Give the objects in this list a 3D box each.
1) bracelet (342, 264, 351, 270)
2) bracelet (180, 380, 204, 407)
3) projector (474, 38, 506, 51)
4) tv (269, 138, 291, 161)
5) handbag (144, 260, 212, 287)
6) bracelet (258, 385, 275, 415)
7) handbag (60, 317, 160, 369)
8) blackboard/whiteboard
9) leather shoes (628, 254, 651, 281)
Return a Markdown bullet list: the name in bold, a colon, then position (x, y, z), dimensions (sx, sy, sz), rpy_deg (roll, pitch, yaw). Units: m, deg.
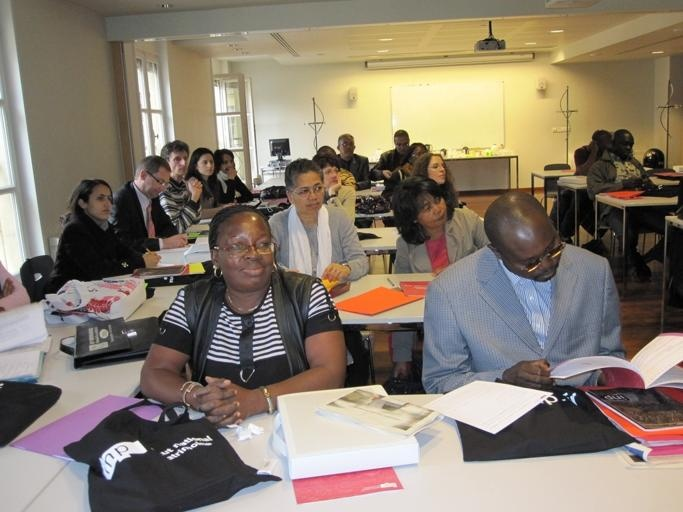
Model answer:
- **bracelet**: position (0.041, 0.064, 3.101), dimensions (0.037, 0.026, 0.036), rpy_deg (1, 2, -8)
- **bracelet**: position (-0.516, 0.459, 1.715), dimensions (0.057, 0.064, 0.028), rpy_deg (12, -19, -13)
- **projector**: position (2.338, -3.216, 7.777), dimensions (0.478, 0.194, 0.461), rpy_deg (-6, 19, -13)
- **tv**: position (-1.379, -2.605, 12.227), dimensions (0.680, 0.593, 0.159), rpy_deg (-2, -3, 11)
- **handbag**: position (-0.973, 0.122, 3.229), dimensions (0.276, 0.060, 0.245), rpy_deg (-4, 16, 2)
- **bracelet**: position (-0.239, 0.483, 1.717), dimensions (0.022, 0.063, 0.068), rpy_deg (-9, -2, -3)
- **handbag**: position (-0.983, 0.373, 2.212), dimensions (0.299, 0.062, 0.260), rpy_deg (-3, 20, -10)
- **blackboard/whiteboard**: position (2.824, -3.601, 12.847), dimensions (3.304, 1.796, 0.068), rpy_deg (-1, 3, 2)
- **leather shoes**: position (3.273, 0.126, 5.619), dimensions (0.194, 0.316, 0.096), rpy_deg (-21, -5, -8)
